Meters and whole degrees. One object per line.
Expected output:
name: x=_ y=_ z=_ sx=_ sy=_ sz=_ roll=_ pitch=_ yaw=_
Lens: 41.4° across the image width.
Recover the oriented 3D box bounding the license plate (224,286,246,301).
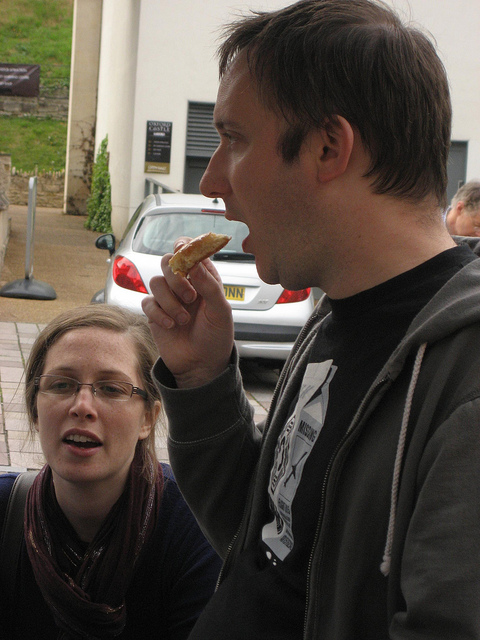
license plate: x=-0.060 y=-0.256 z=5.922 sx=0.259 sy=0.145 sz=0.026 roll=-2 pitch=10 yaw=-5

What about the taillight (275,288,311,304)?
taillight: x=0.574 y=-0.233 z=6.427 sx=0.434 sy=0.153 sz=0.169 roll=-4 pitch=14 yaw=-41

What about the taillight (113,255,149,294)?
taillight: x=-1.118 y=-0.455 z=6.281 sx=0.200 sy=0.319 sz=0.535 roll=-2 pitch=12 yaw=-35

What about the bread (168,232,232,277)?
bread: x=-0.113 y=-0.165 z=1.741 sx=0.118 sy=0.052 sz=0.156 roll=-32 pitch=10 yaw=-24
